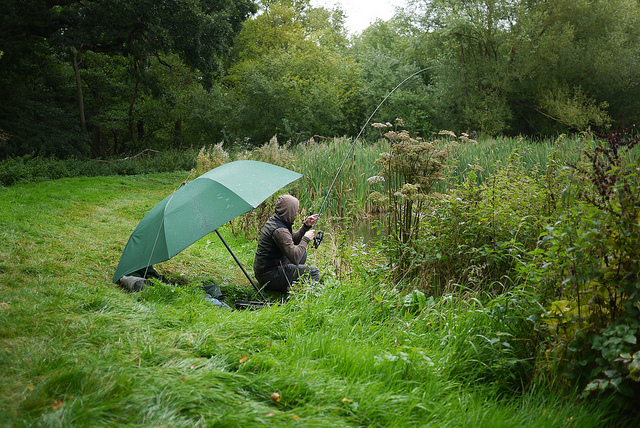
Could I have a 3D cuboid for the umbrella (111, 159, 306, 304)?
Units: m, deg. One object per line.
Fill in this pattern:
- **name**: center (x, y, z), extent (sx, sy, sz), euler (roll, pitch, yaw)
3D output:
- **umbrella**: center (-1.705, -0.025, 7.301), extent (2.066, 1.490, 2.164), euler (-17, 11, 21)
